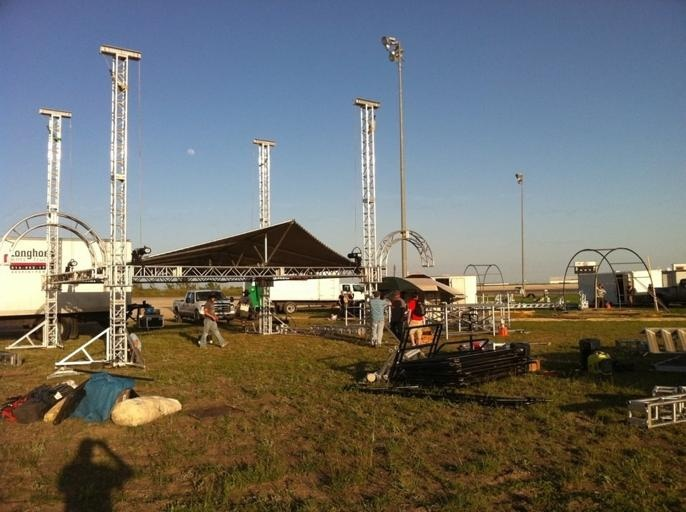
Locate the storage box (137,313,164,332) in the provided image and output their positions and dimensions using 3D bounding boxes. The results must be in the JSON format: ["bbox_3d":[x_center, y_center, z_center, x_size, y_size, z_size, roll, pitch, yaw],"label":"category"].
[{"bbox_3d":[-7.654,2.646,23.922,0.775,0.471,0.760,2,-5,-37],"label":"storage box"}]

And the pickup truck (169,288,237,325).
[{"bbox_3d":[-6.750,2.428,29.421,2.263,1.439,3.750,2,-5,-33],"label":"pickup truck"}]

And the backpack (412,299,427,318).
[{"bbox_3d":[2.166,1.509,17.144,0.242,0.551,0.503,2,6,35],"label":"backpack"}]
